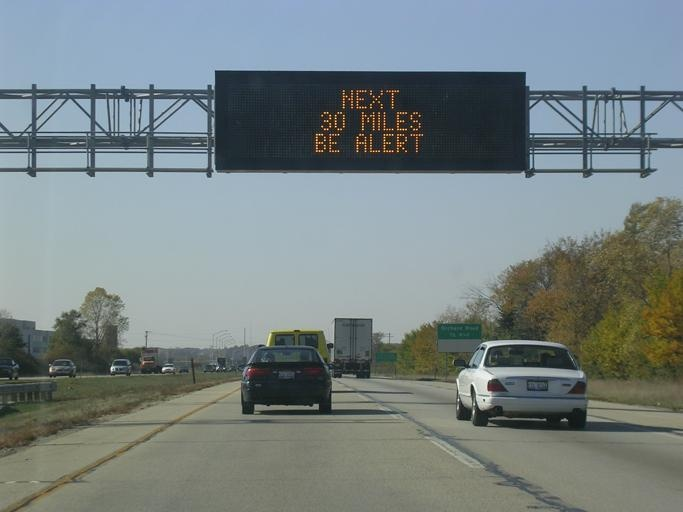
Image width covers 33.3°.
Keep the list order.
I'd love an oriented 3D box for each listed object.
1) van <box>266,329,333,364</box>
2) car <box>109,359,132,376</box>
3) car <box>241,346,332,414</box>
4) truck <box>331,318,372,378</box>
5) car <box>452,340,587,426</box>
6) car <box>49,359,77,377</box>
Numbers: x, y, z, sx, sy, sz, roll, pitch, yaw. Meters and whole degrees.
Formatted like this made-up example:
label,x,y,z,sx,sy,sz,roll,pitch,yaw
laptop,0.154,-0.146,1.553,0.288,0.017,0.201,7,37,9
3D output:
label,x,y,z,sx,sy,sz,roll,pitch,yaw
van,-1.842,3.710,49.468,2.607,2.567,4.177,0,-3,-3
car,-19.001,9.575,98.393,1.281,1.127,2.340,0,-13,-5
car,-1.679,3.741,34.467,2.622,2.051,1.237,1,-7,-7
truck,0.450,5.749,77.313,2.553,3.838,6.108,1,4,-6
car,4.902,3.445,31.245,3.594,2.370,2.519,-4,-8,24
car,-21.420,8.566,88.117,1.198,1.016,2.230,1,-13,-4
